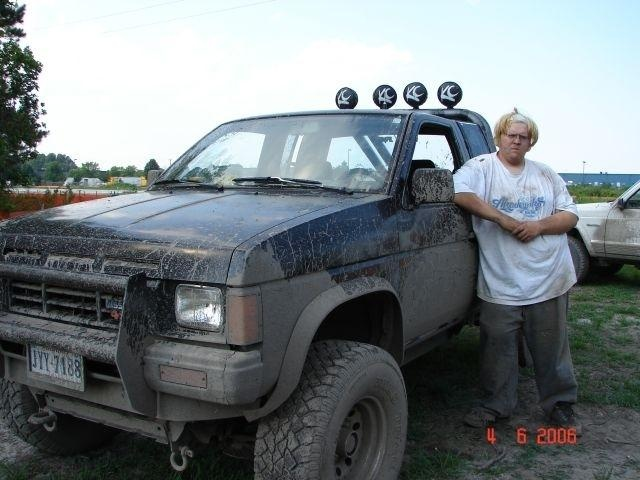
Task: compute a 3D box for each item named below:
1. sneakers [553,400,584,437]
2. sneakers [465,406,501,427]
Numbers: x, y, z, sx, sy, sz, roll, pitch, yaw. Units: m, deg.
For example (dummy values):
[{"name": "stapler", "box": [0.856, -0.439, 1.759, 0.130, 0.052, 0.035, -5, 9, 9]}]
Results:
[{"name": "sneakers", "box": [1.925, 1.385, 3.357, 0.153, 0.192, 0.262, -1, 7, -3]}, {"name": "sneakers", "box": [1.335, 1.415, 3.449, 0.337, 0.146, 0.128, 3, -3, 4]}]
